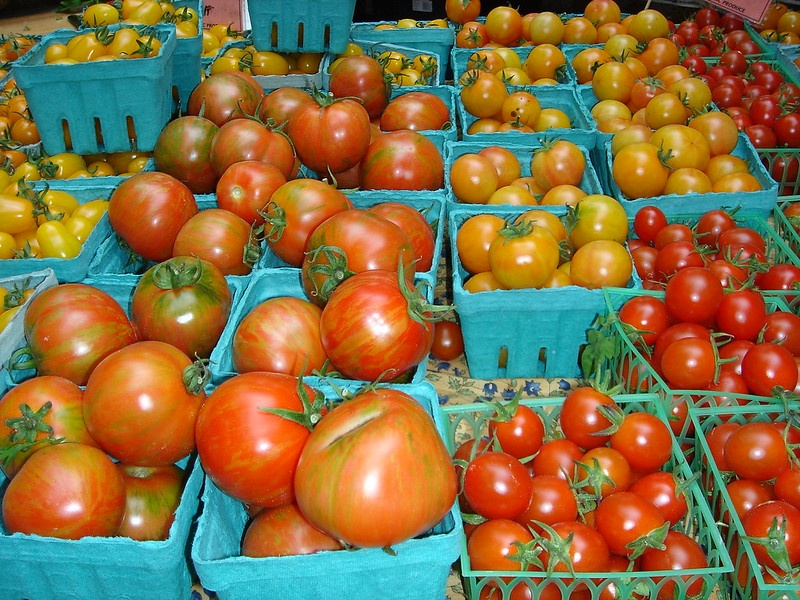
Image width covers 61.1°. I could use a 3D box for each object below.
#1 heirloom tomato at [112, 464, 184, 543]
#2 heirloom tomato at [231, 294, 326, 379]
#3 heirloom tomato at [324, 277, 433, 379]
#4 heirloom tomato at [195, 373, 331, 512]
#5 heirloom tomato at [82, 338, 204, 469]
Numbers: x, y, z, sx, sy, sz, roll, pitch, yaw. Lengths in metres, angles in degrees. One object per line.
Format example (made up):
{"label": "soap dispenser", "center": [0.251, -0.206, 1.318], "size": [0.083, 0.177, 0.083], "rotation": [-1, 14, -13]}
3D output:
{"label": "heirloom tomato", "center": [-0.689, 0.556, 1.960], "size": [0.190, 0.204, 0.194], "rotation": [3, 6, 8]}
{"label": "heirloom tomato", "center": [-0.361, 0.121, 2.149], "size": [0.241, 0.236, 0.242], "rotation": [3, 42, -46]}
{"label": "heirloom tomato", "center": [-0.090, 0.092, 2.021], "size": [0.237, 0.277, 0.262], "rotation": [-20, 45, -31]}
{"label": "heirloom tomato", "center": [-0.375, 0.346, 1.907], "size": [0.336, 0.346, 0.342], "rotation": [-13, 28, -1]}
{"label": "heirloom tomato", "center": [-0.700, 0.296, 1.976], "size": [0.330, 0.327, 0.331], "rotation": [-16, 52, -3]}
